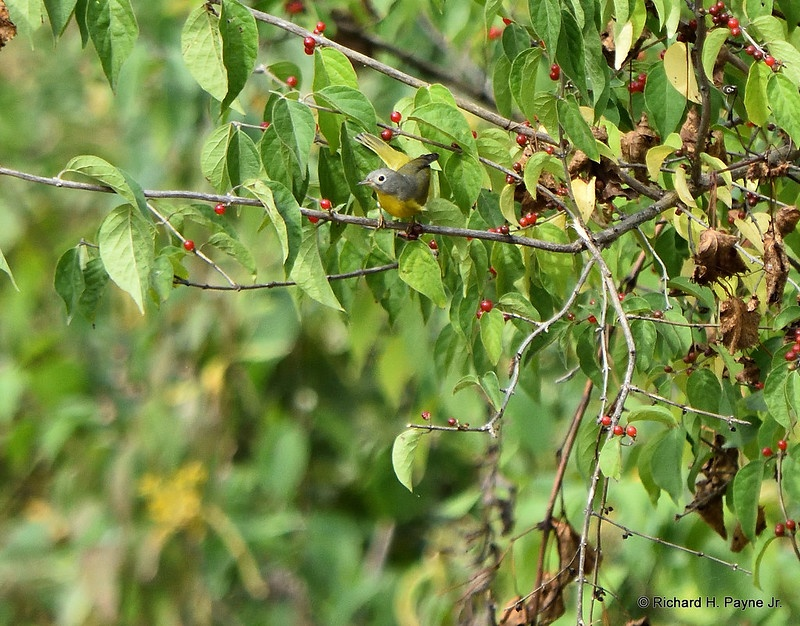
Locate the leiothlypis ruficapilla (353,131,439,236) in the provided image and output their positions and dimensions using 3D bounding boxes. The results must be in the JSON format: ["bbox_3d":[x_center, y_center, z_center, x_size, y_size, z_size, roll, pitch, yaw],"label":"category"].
[{"bbox_3d":[0.007,-0.360,2.903,0.134,0.227,0.295,8,42,21],"label":"leiothlypis ruficapilla"}]
